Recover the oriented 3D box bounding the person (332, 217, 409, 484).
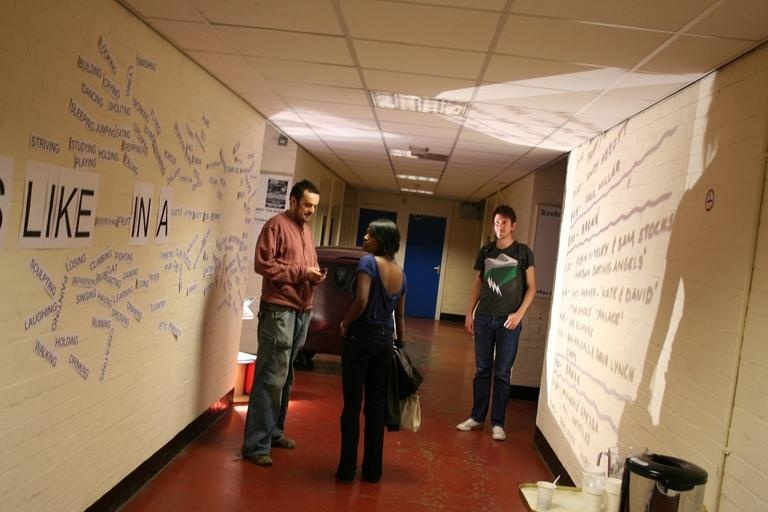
[{"bbox_3d":[-0.077,0.757,3.645,0.568,1.824,0.294,4,2,-39],"label":"person"}]

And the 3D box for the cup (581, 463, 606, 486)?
[{"bbox_3d":[1.038,1.129,2.354,0.101,0.110,0.103,0,5,0],"label":"cup"}]

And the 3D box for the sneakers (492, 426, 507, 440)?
[{"bbox_3d":[1.197,1.856,4.858,0.143,0.148,0.149,6,2,15],"label":"sneakers"}]

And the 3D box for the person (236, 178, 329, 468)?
[{"bbox_3d":[-0.850,0.524,3.957,0.575,1.954,0.411,5,2,-33],"label":"person"}]

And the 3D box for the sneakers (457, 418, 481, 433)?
[{"bbox_3d":[0.889,1.817,4.999,0.300,0.132,0.113,4,-3,-18],"label":"sneakers"}]

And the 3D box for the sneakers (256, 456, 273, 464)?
[{"bbox_3d":[-0.960,1.667,3.786,0.135,0.060,0.066,5,2,-32],"label":"sneakers"}]

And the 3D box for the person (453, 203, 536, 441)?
[{"bbox_3d":[1.214,0.689,5.004,0.680,2.465,0.478,6,2,19],"label":"person"}]

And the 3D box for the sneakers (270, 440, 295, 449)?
[{"bbox_3d":[-0.884,1.668,4.119,0.224,0.095,0.082,0,-1,-3],"label":"sneakers"}]
